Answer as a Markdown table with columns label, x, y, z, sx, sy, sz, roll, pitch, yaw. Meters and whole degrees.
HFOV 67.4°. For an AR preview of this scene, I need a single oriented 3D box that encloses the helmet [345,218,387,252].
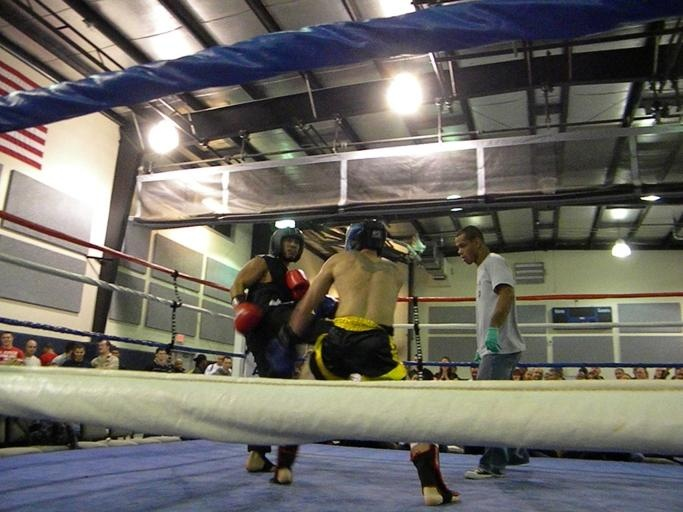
| label | x | y | z | sx | sy | sz | roll | pitch | yaw |
| --- | --- | --- | --- | --- | --- | --- | --- | --- | --- |
| helmet | 0.130 | -0.076 | 2.431 | 0.175 | 0.119 | 0.175 | 8 | -11 | -13 |

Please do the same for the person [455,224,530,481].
| label | x | y | z | sx | sy | sz | roll | pitch | yaw |
| --- | --- | --- | --- | --- | --- | --- | --- | --- | --- |
| person | 0.818 | 0.469 | 2.760 | 0.346 | 1.425 | 0.763 | -5 | -17 | 17 |

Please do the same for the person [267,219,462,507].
| label | x | y | z | sx | sy | sz | roll | pitch | yaw |
| --- | --- | --- | --- | --- | --- | --- | --- | --- | --- |
| person | 0.072 | 0.390 | 2.252 | 0.494 | 1.189 | 0.964 | 14 | -20 | -35 |

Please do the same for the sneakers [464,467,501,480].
| label | x | y | z | sx | sy | sz | roll | pitch | yaw |
| --- | --- | --- | --- | --- | --- | --- | --- | --- | --- |
| sneakers | 0.729 | 1.137 | 2.645 | 0.227 | 0.062 | 0.050 | 5 | -52 | -1 |

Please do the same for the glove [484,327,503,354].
| label | x | y | z | sx | sy | sz | roll | pitch | yaw |
| --- | --- | --- | --- | --- | --- | --- | --- | --- | --- |
| glove | 0.798 | 0.435 | 2.650 | 0.077 | 0.130 | 0.124 | -4 | -15 | 15 |

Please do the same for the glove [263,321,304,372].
| label | x | y | z | sx | sy | sz | roll | pitch | yaw |
| --- | --- | --- | --- | --- | --- | --- | --- | --- | --- |
| glove | -0.247 | 0.479 | 2.537 | 0.133 | 0.248 | 0.264 | -5 | 16 | -44 |

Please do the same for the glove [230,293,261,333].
| label | x | y | z | sx | sy | sz | roll | pitch | yaw |
| --- | --- | --- | --- | --- | --- | --- | --- | --- | --- |
| glove | -0.493 | 0.306 | 2.689 | 0.155 | 0.214 | 0.191 | 4 | -15 | -10 |

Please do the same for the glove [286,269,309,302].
| label | x | y | z | sx | sy | sz | roll | pitch | yaw |
| --- | --- | --- | --- | --- | --- | --- | --- | --- | --- |
| glove | -0.238 | 0.163 | 2.709 | 0.106 | 0.122 | 0.184 | 45 | 5 | -24 |
